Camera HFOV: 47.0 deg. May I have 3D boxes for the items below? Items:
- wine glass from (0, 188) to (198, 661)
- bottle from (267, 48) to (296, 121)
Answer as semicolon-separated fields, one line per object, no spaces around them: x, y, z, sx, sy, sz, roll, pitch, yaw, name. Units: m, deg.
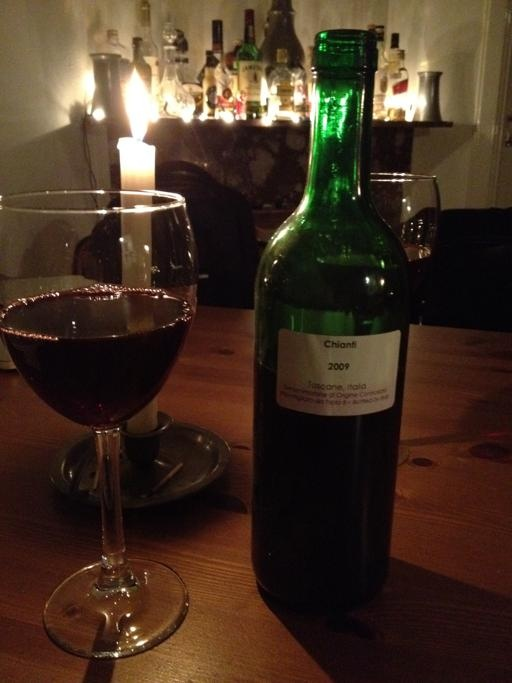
-0.096;0.038;0.353;0.113;0.238;0.174;0;20;2;wine glass
0.110;-1.159;2.642;0.133;0.352;0.129;0;4;0;bottle
